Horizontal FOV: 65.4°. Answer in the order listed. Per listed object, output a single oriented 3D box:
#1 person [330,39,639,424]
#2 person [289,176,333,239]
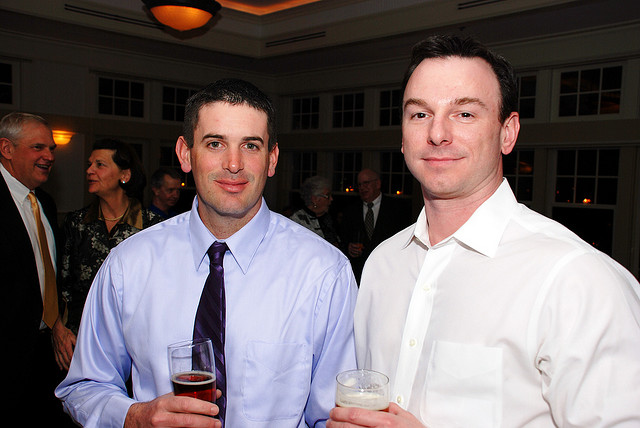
[{"bbox_3d":[0.667,0.052,1.935,1.072,1.506,0.415,2,4,11],"label":"person"},{"bbox_3d":[-0.049,-0.052,5.686,0.507,0.930,0.915,-2,9,0],"label":"person"}]
